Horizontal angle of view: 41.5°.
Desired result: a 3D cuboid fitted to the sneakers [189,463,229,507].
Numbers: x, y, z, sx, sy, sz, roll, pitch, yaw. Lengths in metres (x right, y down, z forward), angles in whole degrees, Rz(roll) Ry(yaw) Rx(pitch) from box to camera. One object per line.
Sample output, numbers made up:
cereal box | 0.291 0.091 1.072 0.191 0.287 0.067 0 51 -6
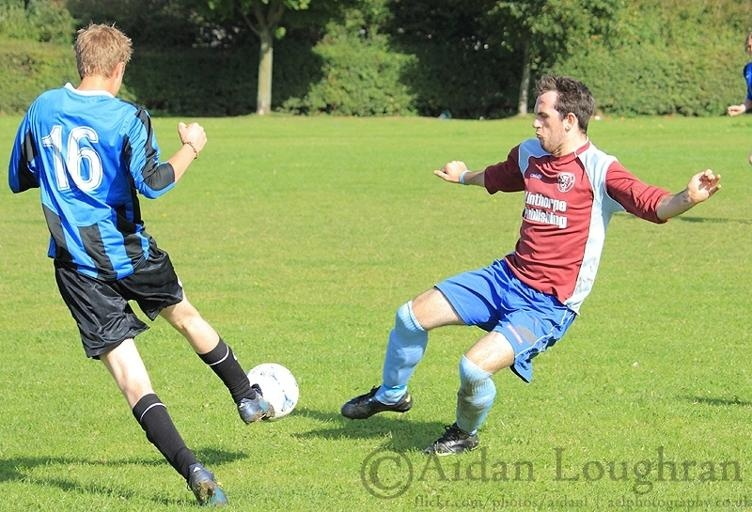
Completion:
sneakers | -1.636 2.220 9.620 0.261 0.461 0.205 -34 7 16

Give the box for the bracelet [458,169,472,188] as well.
bracelet | 1.015 -0.877 11.293 0.127 0.137 0.161 3 -16 -22
